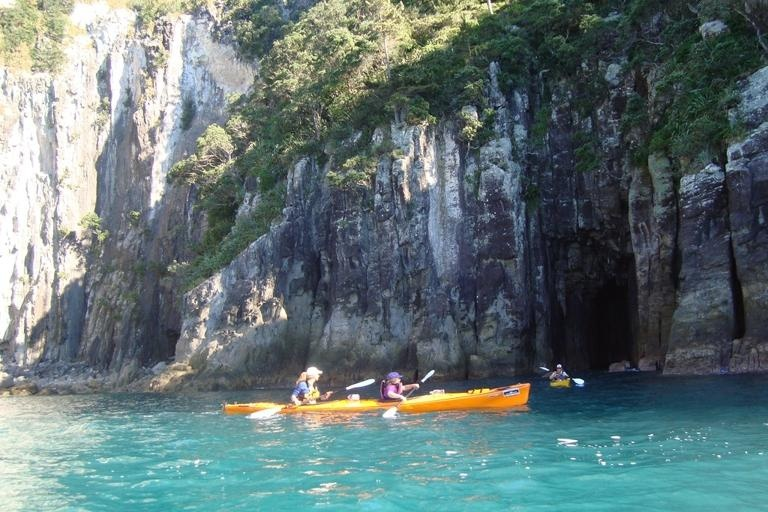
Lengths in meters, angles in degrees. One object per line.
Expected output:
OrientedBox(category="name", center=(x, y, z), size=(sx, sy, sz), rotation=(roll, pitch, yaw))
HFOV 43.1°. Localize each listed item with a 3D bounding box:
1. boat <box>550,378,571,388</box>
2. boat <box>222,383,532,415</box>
OrientedBox(category="boat", center=(10.550, 7.476, 57.977), size=(1.227, 0.653, 1.557), rotation=(-2, -14, 11))
OrientedBox(category="boat", center=(-1.416, 8.416, 56.265), size=(19.770, 2.236, 3.687), rotation=(-5, -7, 16))
